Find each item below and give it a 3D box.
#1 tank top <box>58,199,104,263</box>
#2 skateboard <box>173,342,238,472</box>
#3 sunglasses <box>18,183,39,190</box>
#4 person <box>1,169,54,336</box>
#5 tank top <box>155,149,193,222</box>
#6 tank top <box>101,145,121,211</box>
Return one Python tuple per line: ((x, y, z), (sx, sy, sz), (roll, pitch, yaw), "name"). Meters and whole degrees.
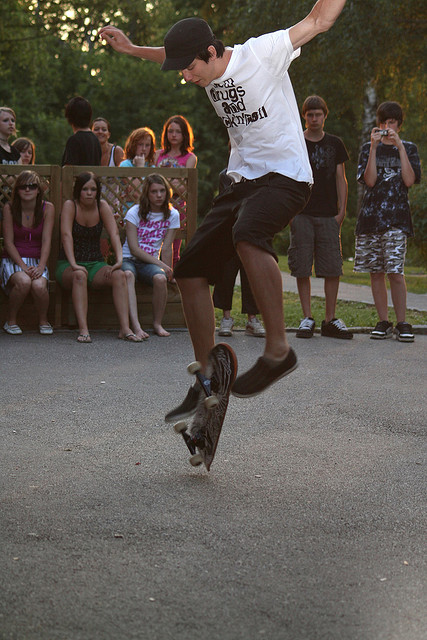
((-1.515, -1.007, 7.195), (0.515, 0.771, 0.424), (-2, -4, -12), "tank top")
((-0.019, 0.395, 2.636), (0.092, 0.599, 0.237), (-9, 34, -39), "skateboard")
((-2.096, -1.513, 6.792), (0.209, 0.088, 0.054), (1, 1, -17), "sunglasses")
((-2.129, -0.772, 6.860), (0.569, 1.861, 0.323), (1, 1, -17), "person")
((-0.533, -1.828, 8.018), (0.467, 1.082, 0.832), (1, 1, -6), "tank top")
((-1.420, -1.991, 8.477), (0.326, 1.436, 0.224), (-4, -20, 1), "tank top")
